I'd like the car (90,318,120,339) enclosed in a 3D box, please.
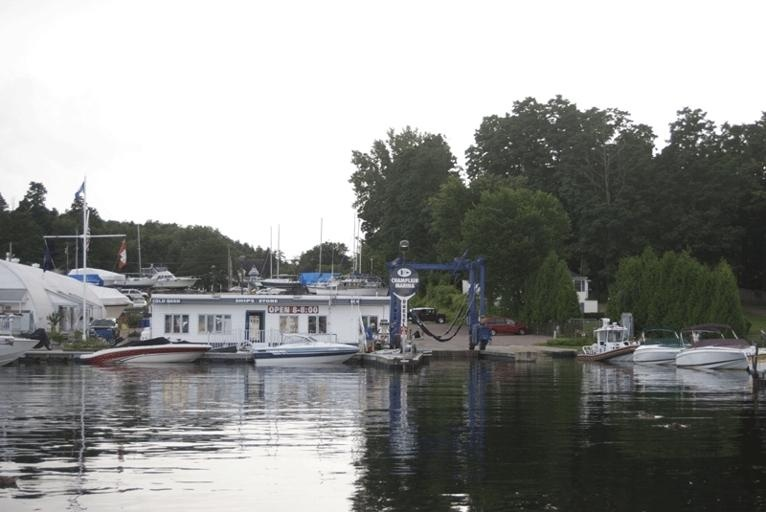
[{"bbox_3d":[-20.769,5.432,103.408,1.405,1.050,2.288,0,-7,-6],"label":"car"}]

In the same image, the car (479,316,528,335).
[{"bbox_3d":[9.483,5.697,111.454,3.793,1.199,1.680,0,1,-17],"label":"car"}]

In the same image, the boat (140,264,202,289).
[{"bbox_3d":[-27.129,2.554,176.042,9.797,3.589,3.096,-1,7,6],"label":"boat"}]

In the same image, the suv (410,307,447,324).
[{"bbox_3d":[3.719,5.027,117.208,2.546,0.760,1.340,4,-4,-2],"label":"suv"}]

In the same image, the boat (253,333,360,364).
[{"bbox_3d":[-5.403,6.467,92.026,8.240,2.135,2.389,-1,2,-6],"label":"boat"}]
